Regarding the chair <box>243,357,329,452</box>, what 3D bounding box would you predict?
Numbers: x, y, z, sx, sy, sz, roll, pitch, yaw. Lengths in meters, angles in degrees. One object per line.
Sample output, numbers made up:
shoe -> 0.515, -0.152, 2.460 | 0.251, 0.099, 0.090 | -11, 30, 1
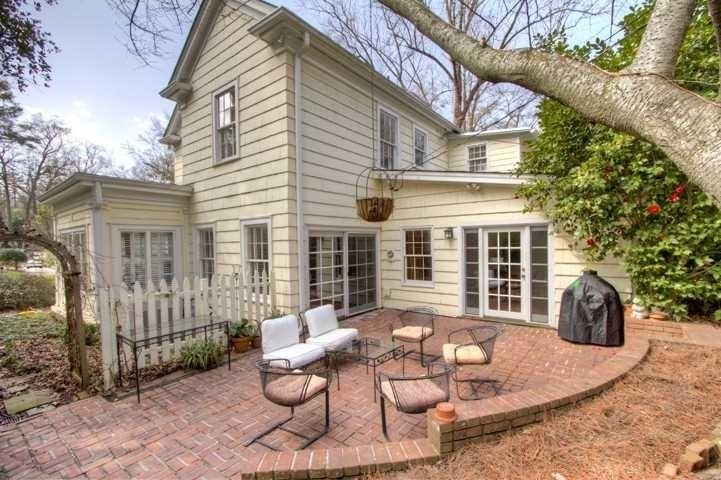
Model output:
chair -> -0.994, 2.658, 7.591 | 1.234, 1.471, 1.342 | 1, 4, 38

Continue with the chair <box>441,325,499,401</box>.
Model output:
chair -> 1.973, 2.193, 8.433 | 1.299, 1.345, 1.321 | -1, -5, 5

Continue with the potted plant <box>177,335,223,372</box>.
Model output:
potted plant -> -3.060, 2.217, 8.975 | 0.692, 0.450, 0.653 | -1, -3, -1

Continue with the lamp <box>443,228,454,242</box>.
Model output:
lamp -> 2.165, -0.110, 11.256 | 0.287, 0.370, 0.275 | -3, -7, 45
